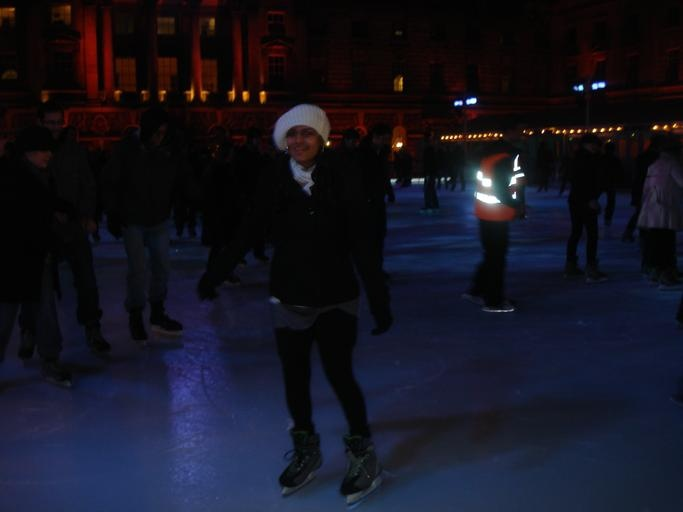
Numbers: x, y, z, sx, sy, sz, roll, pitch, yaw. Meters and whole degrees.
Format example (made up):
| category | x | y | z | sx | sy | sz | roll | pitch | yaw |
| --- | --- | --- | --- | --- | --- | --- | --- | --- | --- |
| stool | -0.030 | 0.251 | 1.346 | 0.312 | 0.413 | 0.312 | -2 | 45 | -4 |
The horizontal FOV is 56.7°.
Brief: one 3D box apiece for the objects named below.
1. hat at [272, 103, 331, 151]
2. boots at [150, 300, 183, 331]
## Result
| category | x | y | z | sx | sy | sz | roll | pitch | yaw |
| --- | --- | --- | --- | --- | --- | --- | --- | --- | --- |
| hat | -0.237 | -0.762 | 3.803 | 0.330 | 0.278 | 0.239 | -16 | 14 | -39 |
| boots | -2.048 | 0.716 | 7.424 | 0.440 | 0.324 | 0.169 | 8 | 15 | 13 |
